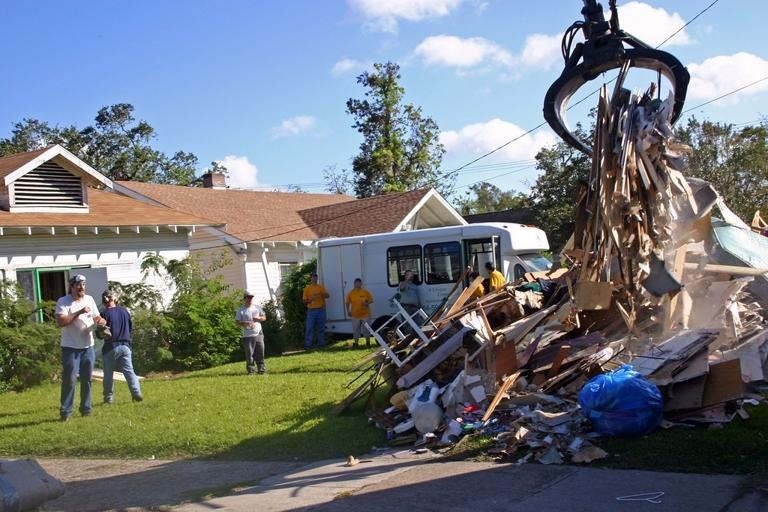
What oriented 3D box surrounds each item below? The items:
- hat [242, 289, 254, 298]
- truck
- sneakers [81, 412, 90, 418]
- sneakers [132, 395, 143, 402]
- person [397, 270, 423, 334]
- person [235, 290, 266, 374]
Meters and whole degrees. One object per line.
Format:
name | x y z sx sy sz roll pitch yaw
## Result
hat | -3.213 0.867 16.228 0.221 0.108 0.315 -2 1 -25
truck | 0.825 0.647 18.935 6.029 2.790 0.825 -3 8 27
sneakers | -5.500 2.911 12.711 0.175 0.085 0.123 -6 6 1
sneakers | -4.874 2.808 13.593 0.141 0.130 0.136 4 -6 -31
person | 0.704 1.227 18.503 0.607 1.631 1.059 -7 7 1
person | -3.118 1.791 16.220 0.651 1.896 0.864 -8 7 -11
